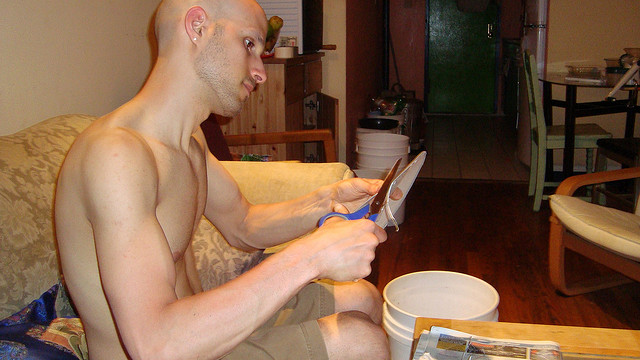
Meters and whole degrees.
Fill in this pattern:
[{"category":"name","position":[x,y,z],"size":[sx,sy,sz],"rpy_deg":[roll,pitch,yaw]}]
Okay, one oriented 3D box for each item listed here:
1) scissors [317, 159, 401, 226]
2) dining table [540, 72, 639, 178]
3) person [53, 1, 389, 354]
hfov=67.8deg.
[{"category":"scissors","position":[0.173,0.090,1.841],"size":[0.167,0.408,0.020],"rpy_deg":[42,4,41]},{"category":"dining table","position":[2.286,-0.467,4.003],"size":[0.764,0.841,0.755],"rpy_deg":[-10,22,-9]},{"category":"person","position":[-0.354,0.002,1.715],"size":[1.136,1.230,0.631],"rpy_deg":[-4,18,-17]}]
